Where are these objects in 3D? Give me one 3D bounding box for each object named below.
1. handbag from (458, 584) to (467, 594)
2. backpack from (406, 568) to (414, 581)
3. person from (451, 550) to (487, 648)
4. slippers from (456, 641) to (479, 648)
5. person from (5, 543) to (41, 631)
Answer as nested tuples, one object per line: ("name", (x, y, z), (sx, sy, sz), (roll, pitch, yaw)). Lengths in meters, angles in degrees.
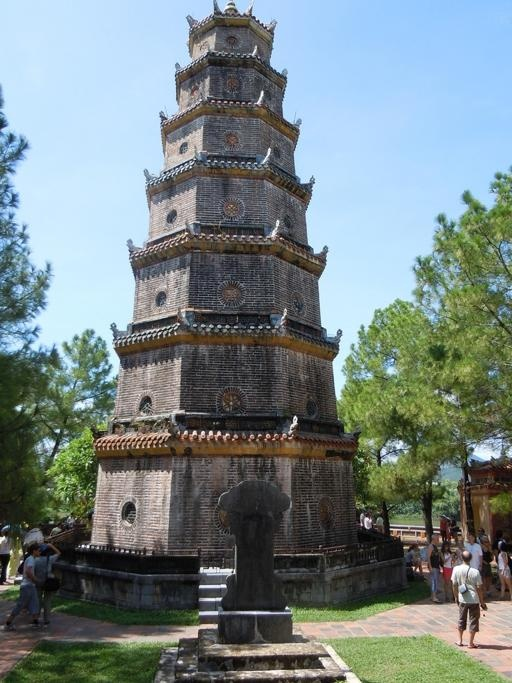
("handbag", (2.858, 3.405, 7.110), (0.076, 0.111, 0.128), (18, -21, -8))
("backpack", (4.243, 6.391, 14.168), (0.182, 0.287, 0.392), (-5, -16, 16))
("person", (3.109, 3.705, 7.560), (0.425, 1.301, 1.409), (-6, -17, 19))
("slippers", (2.874, 4.129, 7.032), (0.276, 0.055, 0.289), (-7, -17, 23))
("person", (-3.694, 3.920, 8.281), (0.468, 1.230, 0.607), (5, -17, -17))
